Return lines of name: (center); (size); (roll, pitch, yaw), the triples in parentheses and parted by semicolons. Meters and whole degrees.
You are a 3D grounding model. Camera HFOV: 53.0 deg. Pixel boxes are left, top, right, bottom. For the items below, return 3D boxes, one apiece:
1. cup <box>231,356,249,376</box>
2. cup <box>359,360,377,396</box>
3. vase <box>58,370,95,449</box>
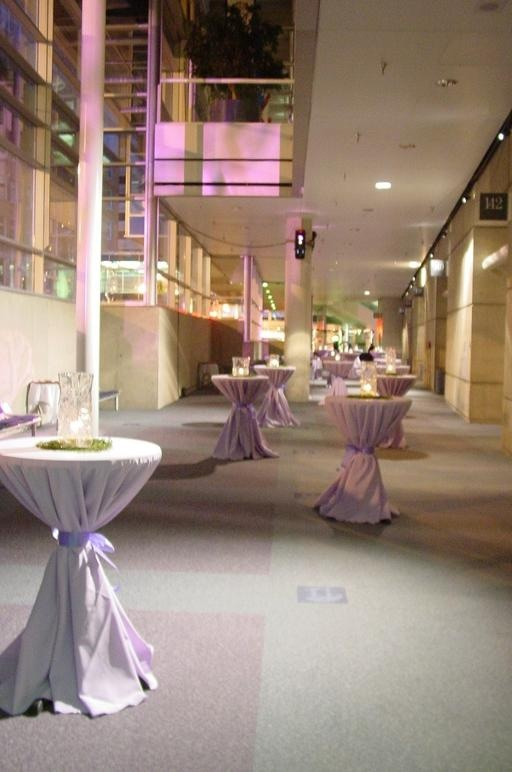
cup: (-0.195, -0.216, 6.183); (0.148, 0.228, 0.249); (0, -3, -2)
cup: (0.803, -0.048, 3.672); (0.102, 0.239, 0.089); (2, 3, 8)
vase: (-0.599, 0.082, 1.694); (0.122, 0.244, 0.109); (0, -15, -22)
